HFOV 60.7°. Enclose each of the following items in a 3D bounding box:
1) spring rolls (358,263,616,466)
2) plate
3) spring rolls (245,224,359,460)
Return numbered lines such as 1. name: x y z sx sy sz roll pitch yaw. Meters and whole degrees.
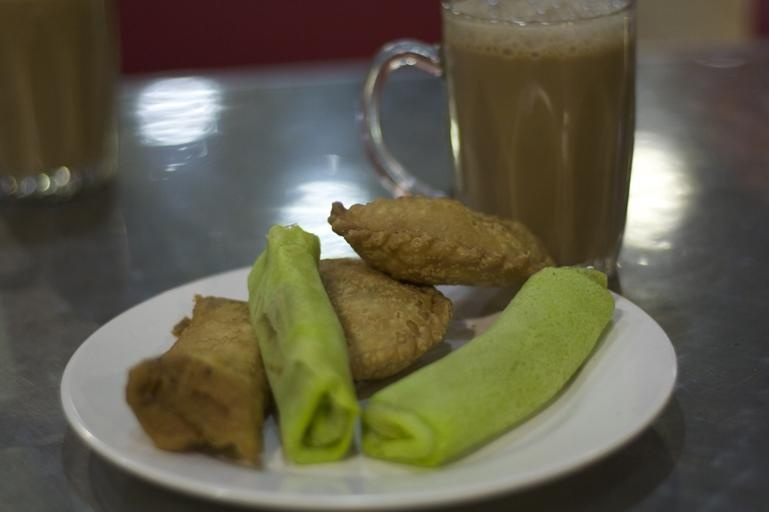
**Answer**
1. spring rolls: 0.080 0.073 0.443 0.227 0.073 0.069 -27 22 -38
2. plate: -0.012 0.080 0.424 0.386 0.046 0.216 2 25 11
3. spring rolls: -0.055 0.044 0.428 0.053 0.058 0.188 -5 33 -15
